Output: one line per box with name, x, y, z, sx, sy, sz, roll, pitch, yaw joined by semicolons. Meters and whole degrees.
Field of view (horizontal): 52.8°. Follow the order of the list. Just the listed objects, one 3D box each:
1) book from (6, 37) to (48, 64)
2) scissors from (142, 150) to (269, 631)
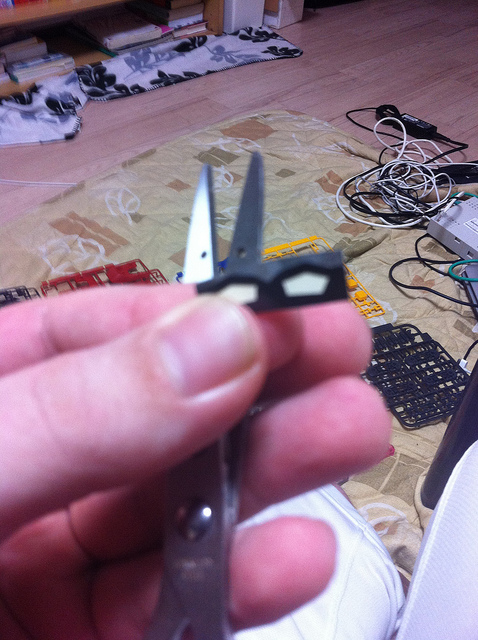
book;-0.781;-0.989;1.779;0.116;0.030;0.119;-24;49;-24
scissors;-0.010;0.036;0.315;0.076;0.022;0.290;4;77;18
